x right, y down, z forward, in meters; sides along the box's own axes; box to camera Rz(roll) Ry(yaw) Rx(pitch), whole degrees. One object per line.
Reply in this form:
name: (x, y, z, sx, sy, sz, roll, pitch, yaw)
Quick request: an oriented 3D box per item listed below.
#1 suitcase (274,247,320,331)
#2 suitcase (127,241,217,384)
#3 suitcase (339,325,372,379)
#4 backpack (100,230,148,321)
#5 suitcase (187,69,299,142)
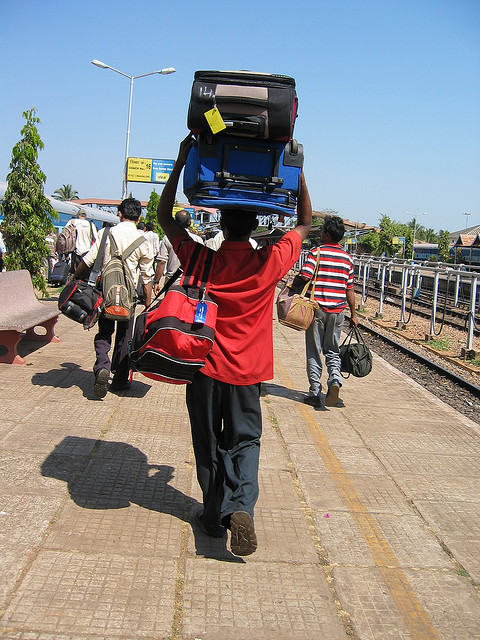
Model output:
suitcase: (0.664, -0.347, 4.315, 0.422, 0.864, 0.384, 24, 9, 4)
suitcase: (-0.252, 0.002, 1.798, 0.302, 0.602, 0.399, 6, 11, -5)
suitcase: (1.332, 0.365, 5.105, 0.352, 0.510, 0.423, 3, 20, -4)
backpack: (-1.260, -0.486, 4.503, 0.425, 0.960, 0.442, 2, 3, 5)
suitcase: (0.030, -0.905, 1.759, 0.411, 0.269, 0.363, 6, 32, 4)
